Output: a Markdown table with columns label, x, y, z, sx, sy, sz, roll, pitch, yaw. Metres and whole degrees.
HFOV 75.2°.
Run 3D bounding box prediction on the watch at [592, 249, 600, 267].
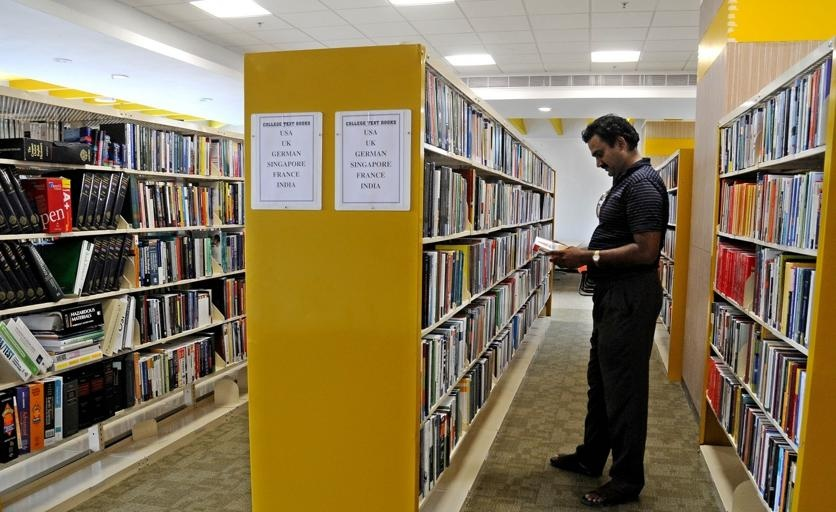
| label | x | y | z | sx | sy | sz | roll | pitch | yaw |
| --- | --- | --- | --- | --- | --- | --- | --- | --- | --- |
| watch | 1.231 | 0.008 | 3.791 | 0.063 | 0.090 | 0.087 | 1 | -7 | 16 |

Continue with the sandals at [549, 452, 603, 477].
| label | x | y | z | sx | sy | sz | roll | pitch | yaw |
| --- | --- | --- | --- | --- | --- | --- | --- | --- | --- |
| sandals | 1.201 | 1.594 | 4.216 | 0.406 | 0.148 | 0.148 | 6 | 6 | 32 |

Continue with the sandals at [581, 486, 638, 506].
| label | x | y | z | sx | sy | sz | roll | pitch | yaw |
| --- | --- | --- | --- | --- | --- | --- | --- | --- | --- |
| sandals | 1.336 | 1.663 | 3.820 | 0.399 | 0.100 | 0.152 | 1 | 1 | -5 |
